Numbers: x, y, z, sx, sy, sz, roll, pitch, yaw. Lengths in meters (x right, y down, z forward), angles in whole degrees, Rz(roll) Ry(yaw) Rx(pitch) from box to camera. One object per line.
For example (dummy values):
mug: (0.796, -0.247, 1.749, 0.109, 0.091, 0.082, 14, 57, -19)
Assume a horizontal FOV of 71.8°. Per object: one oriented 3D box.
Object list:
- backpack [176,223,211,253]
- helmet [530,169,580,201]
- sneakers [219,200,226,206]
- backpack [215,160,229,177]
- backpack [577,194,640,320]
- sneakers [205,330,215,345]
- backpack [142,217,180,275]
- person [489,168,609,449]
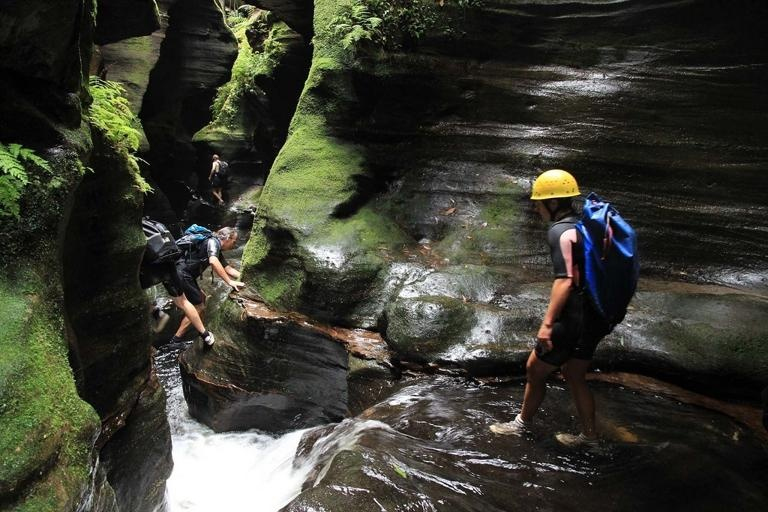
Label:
backpack: (-3.105, -0.255, 8.945, 0.404, 0.511, 0.543, 39, -21, -31)
helmet: (1.682, -0.697, 5.236, 0.429, 0.192, 0.323, -1, 9, 19)
sneakers: (-6.219, -2.012, 20.312, 0.117, 0.177, 0.188, 33, 9, 31)
backpack: (-5.969, -3.176, 19.417, 0.380, 0.585, 0.570, 4, 33, 3)
backpack: (2.034, 0.070, 4.933, 0.611, 1.097, 0.273, 12, 16, 19)
sneakers: (-2.778, 1.293, 8.398, 0.130, 0.217, 0.146, 5, -4, -24)
backpack: (-2.957, -0.190, 7.021, 0.457, 0.581, 0.551, 1, 15, -21)
person: (1.735, 0.565, 5.154, 1.104, 2.699, 0.572, 18, 18, 35)
